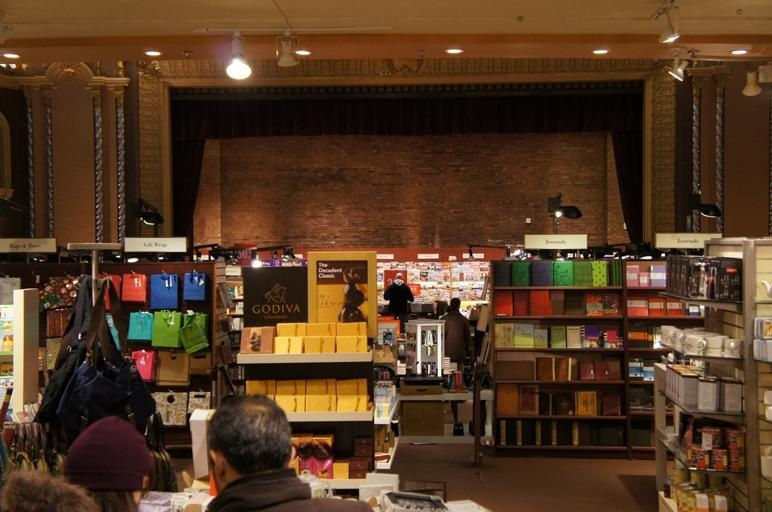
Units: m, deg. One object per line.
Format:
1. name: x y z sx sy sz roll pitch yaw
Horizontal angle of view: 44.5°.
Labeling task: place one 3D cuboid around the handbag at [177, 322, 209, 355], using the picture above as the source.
1. handbag: -2.605 1.162 12.988 0.278 0.465 0.343 6 -12 -16

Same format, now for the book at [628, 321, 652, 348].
1. book: 3.564 1.130 13.271 0.331 0.420 0.233 1 -18 2

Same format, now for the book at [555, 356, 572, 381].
1. book: 2.495 1.607 13.219 0.253 0.326 0.069 0 -1 1

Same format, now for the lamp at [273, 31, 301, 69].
1. lamp: -1.226 -2.586 11.709 0.319 0.397 0.318 -5 23 -10

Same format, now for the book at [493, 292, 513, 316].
1. book: 1.643 0.690 13.315 0.340 0.440 0.044 0 -2 -1

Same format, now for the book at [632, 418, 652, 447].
1. book: 3.570 2.503 13.207 0.354 0.344 0.353 1 -7 2

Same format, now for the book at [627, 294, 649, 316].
1. book: 3.497 0.706 13.372 0.423 0.385 0.225 0 0 5

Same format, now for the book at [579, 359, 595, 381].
1. book: 2.804 1.608 13.189 0.276 0.377 0.230 0 -2 6

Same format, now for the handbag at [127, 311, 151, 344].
1. handbag: -3.355 0.976 12.920 0.410 0.394 0.352 1 -9 -4

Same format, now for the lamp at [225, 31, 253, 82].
1. lamp: -1.837 -2.480 11.731 0.274 0.577 0.646 0 -2 -9

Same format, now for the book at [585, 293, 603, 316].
1. book: 2.911 0.694 13.147 0.278 0.254 0.067 -6 -2 4

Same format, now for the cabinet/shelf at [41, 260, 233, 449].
1. cabinet/shelf: -3.014 1.178 11.351 2.613 2.462 1.426 0 4 -1

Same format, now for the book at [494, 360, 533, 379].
1. book: 1.796 1.616 13.221 0.550 0.257 0.078 0 -1 -4

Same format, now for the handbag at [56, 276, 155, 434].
1. handbag: -2.980 1.167 10.303 1.031 1.750 1.070 -4 -11 -8

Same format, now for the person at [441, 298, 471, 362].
1. person: 1.101 1.206 14.726 0.403 1.060 0.700 -1 -1 5

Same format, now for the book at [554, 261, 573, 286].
1. book: 2.522 0.228 13.365 0.296 0.400 0.395 0 1 12

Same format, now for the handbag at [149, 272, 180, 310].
1. handbag: -3.036 0.496 12.959 0.499 0.543 0.246 1 3 3

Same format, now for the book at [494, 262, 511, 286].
1. book: 1.651 0.258 13.317 0.307 0.411 0.305 0 2 10

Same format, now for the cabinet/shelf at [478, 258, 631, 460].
1. cabinet/shelf: 2.412 1.519 13.217 2.780 3.706 0.973 0 -6 -2

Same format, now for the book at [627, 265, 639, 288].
1. book: 3.453 0.280 13.238 0.179 0.309 0.027 0 -1 -6

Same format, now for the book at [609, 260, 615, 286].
1. book: 3.162 0.245 13.225 0.081 0.266 0.198 3 2 13

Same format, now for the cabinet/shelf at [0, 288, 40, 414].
1. cabinet/shelf: -4.030 1.001 10.627 0.148 1.314 0.273 0 0 39

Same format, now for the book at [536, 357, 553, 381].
1. book: 2.219 1.604 13.207 0.327 0.419 0.059 -1 1 5

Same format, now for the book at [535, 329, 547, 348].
1. book: 2.177 1.183 13.290 0.262 0.352 0.036 0 -2 -3

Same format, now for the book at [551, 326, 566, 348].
1. book: 2.414 1.158 13.276 0.264 0.375 0.266 0 -4 2

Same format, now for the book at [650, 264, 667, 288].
1. book: 3.792 0.282 13.290 0.275 0.359 0.384 0 0 12

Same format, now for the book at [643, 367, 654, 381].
1. book: 3.656 1.666 13.201 0.128 0.189 0.041 0 -1 -4

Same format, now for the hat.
1. hat: -2.448 1.739 8.349 0.916 0.703 0.859 5 -18 -6

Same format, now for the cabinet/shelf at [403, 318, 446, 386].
1. cabinet/shelf: 0.533 1.291 12.930 0.515 0.828 0.534 0 -1 1
